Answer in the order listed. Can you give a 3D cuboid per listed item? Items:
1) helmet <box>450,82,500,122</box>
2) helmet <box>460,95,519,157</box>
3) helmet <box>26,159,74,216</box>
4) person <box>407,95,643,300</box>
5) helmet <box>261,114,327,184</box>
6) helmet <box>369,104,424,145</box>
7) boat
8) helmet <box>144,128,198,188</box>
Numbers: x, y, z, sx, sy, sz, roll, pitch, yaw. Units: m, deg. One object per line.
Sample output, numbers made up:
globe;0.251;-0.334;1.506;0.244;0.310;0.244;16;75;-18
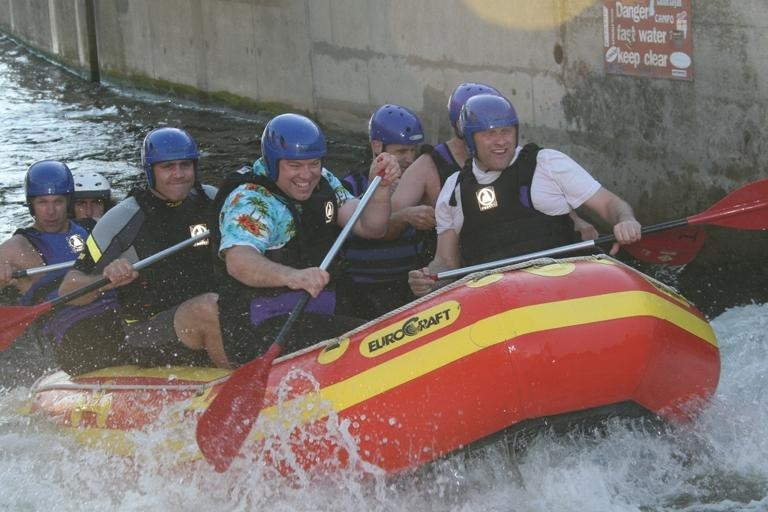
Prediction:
helmet;0.648;-1.194;7.439;0.250;0.279;0.333;-24;41;-34
helmet;0.743;-0.977;6.838;0.376;0.412;0.525;-6;31;3
helmet;-2.669;-0.523;7.870;0.347;0.451;0.471;-3;1;-15
person;1.015;-0.391;6.931;1.052;1.363;0.684;-22;8;18
helmet;-0.609;-0.757;6.744;0.434;0.448;0.539;5;26;-4
helmet;0.123;-1.078;7.945;0.360;0.375;0.291;12;19;20
boat;0.068;0.878;6.250;3.235;0.727;1.698;-17;-9;10
helmet;-1.551;-0.691;7.342;0.370;0.511;0.492;-7;3;-11
